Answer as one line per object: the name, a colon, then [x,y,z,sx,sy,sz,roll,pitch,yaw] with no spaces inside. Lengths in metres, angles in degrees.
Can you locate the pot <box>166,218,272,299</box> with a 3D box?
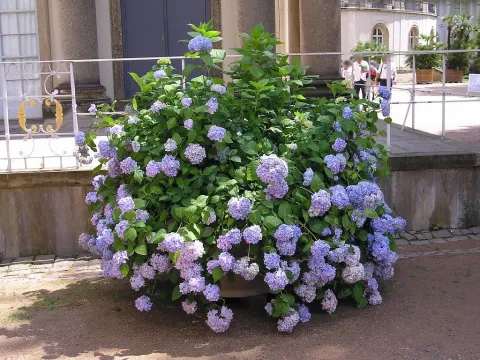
pot: [-0.057,0.772,4.056,0.499,0.384,0.513,-1,2,0]

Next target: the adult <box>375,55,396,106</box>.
adult: [4.084,-2.843,12.541,0.563,1.408,0.357,4,47,23]

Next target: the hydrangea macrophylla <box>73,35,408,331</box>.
hydrangea macrophylla: [-0.009,-0.014,3.816,2.628,2.433,1.425,2,15,12]
